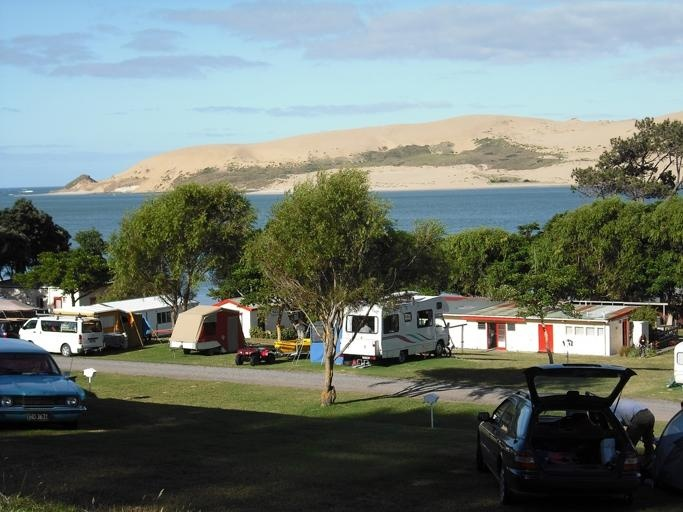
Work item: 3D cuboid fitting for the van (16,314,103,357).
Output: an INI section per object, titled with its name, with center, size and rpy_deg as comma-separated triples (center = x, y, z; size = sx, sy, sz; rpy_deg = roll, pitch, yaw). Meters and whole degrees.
[van]
center = -15.312, 4.202, 61.797
size = 4.053, 1.796, 2.325
rpy_deg = 3, -1, 18

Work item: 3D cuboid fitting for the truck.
[truck]
center = 3.058, 3.771, 60.158
size = 3.031, 3.020, 6.528
rpy_deg = 0, 3, 40
